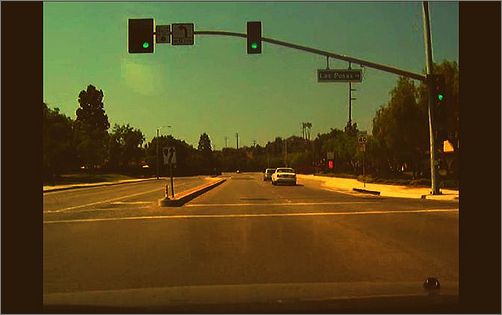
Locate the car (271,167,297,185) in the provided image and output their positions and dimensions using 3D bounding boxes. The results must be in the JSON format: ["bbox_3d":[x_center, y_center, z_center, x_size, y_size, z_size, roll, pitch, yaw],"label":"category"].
[{"bbox_3d":[3.349,1.991,47.903,1.600,1.298,3.769,-1,2,1],"label":"car"}]

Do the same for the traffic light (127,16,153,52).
[{"bbox_3d":[-4.574,-5.025,19.170,1.091,1.414,0.404,1,1,-15],"label":"traffic light"}]
